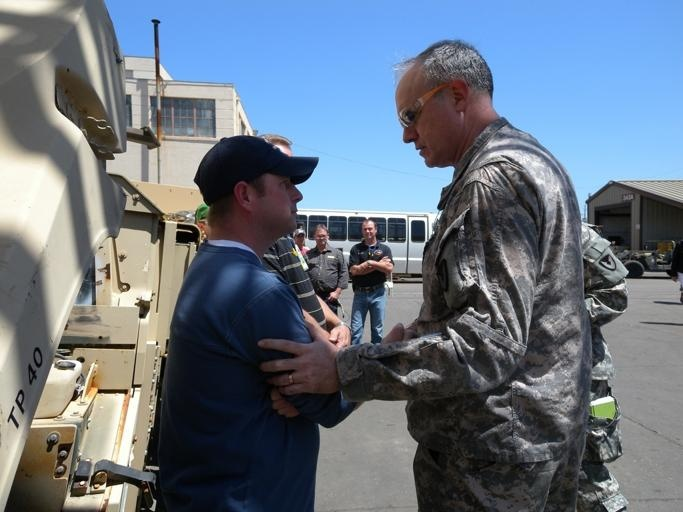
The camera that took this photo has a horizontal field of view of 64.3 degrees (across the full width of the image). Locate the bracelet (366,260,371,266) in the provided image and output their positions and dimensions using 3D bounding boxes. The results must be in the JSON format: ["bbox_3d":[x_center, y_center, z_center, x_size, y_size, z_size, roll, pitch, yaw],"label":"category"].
[{"bbox_3d":[0.429,0.097,8.502,0.044,0.057,0.026,-37,-15,18],"label":"bracelet"}]

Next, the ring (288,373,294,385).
[{"bbox_3d":[-0.164,0.411,1.821,0.024,0.029,0.027,-1,16,-2],"label":"ring"}]

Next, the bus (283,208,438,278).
[{"bbox_3d":[0.346,-0.648,23.417,7.272,2.858,2.560,3,1,1],"label":"bus"}]

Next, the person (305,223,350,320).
[{"bbox_3d":[-0.296,0.416,8.469,0.706,1.844,0.514,-3,21,-6],"label":"person"}]
